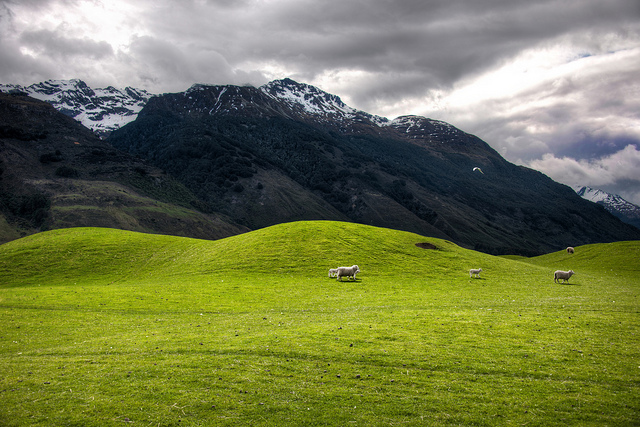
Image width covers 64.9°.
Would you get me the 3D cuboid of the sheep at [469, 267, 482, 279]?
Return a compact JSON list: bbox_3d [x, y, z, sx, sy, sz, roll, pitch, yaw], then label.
[{"bbox_3d":[30.374,11.725,98.907,3.006,1.551,1.392,-4,14,-19],"label":"sheep"}]
